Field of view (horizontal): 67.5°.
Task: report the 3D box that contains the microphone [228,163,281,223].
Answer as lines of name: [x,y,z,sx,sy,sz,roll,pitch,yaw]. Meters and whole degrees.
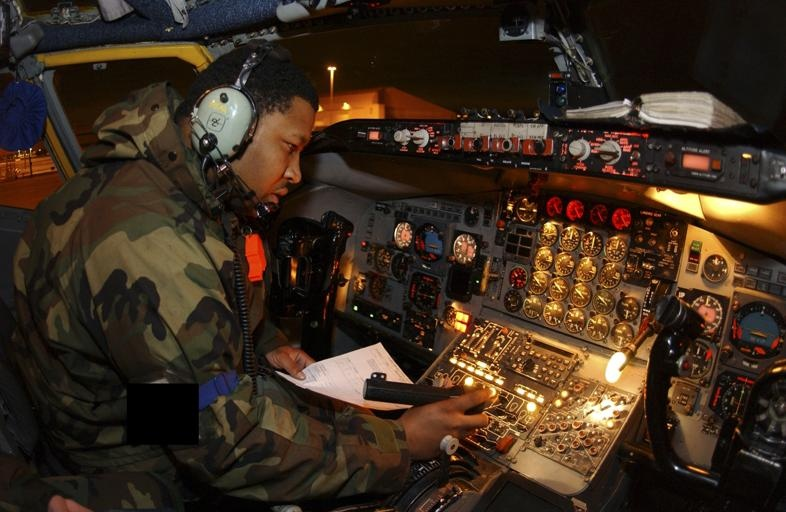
microphone: [-0.553,-0.267,2.545,0.285,0.111,0.207,52,-22,-14]

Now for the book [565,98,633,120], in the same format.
book: [0.863,-0.619,2.485,0.046,0.077,0.299,5,7,-42]

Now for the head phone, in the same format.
head phone: [-0.636,-0.596,2.444,0.220,0.456,0.252,28,0,-2]

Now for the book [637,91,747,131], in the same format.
book: [1.184,-0.581,2.350,0.392,0.148,0.152,11,6,20]
